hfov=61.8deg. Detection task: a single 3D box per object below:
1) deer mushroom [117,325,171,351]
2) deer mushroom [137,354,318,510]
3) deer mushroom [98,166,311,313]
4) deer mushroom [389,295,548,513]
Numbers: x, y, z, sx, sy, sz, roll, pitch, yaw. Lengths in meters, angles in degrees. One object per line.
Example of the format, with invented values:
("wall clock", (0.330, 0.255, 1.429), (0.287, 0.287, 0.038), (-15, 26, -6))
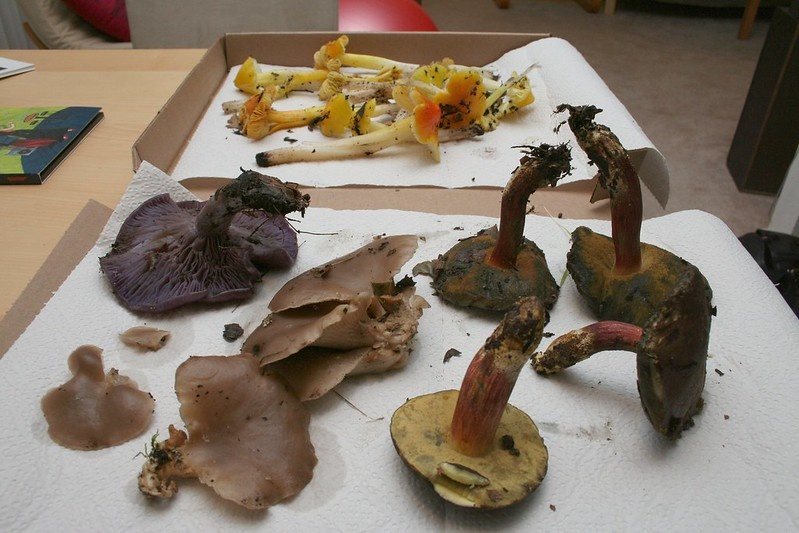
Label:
("deer mushroom", (-0.845, 0.239, 2.211), (0.118, 0.031, 0.081), (5, 53, 3))
("deer mushroom", (-0.485, 0.484, 1.941), (0.413, 0.162, 0.453), (16, 57, -9))
("deer mushroom", (-0.629, -0.132, 2.297), (0.661, 0.419, 0.494), (-15, 68, -32))
("deer mushroom", (0.190, 0.389, 1.813), (0.441, 0.380, 0.399), (-6, 49, -1))
